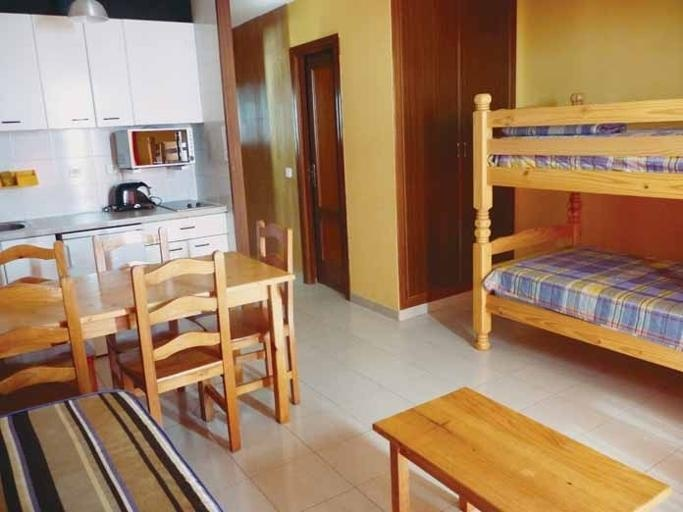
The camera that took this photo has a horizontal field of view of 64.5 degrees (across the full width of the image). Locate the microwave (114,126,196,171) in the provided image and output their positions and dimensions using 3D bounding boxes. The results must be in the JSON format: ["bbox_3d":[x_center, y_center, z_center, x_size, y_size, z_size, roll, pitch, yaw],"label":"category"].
[{"bbox_3d":[-1.705,-0.977,5.049,0.655,0.344,0.391,-9,8,-28],"label":"microwave"}]

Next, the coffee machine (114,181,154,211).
[{"bbox_3d":[-1.927,-0.578,5.057,0.375,0.245,0.237,-12,23,-37],"label":"coffee machine"}]
